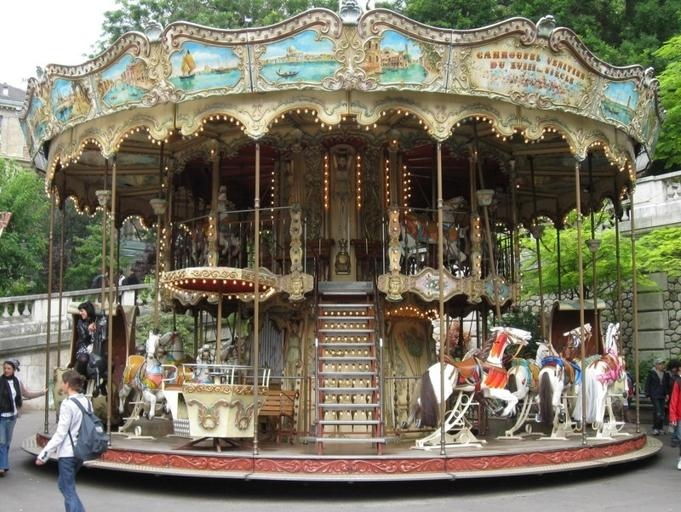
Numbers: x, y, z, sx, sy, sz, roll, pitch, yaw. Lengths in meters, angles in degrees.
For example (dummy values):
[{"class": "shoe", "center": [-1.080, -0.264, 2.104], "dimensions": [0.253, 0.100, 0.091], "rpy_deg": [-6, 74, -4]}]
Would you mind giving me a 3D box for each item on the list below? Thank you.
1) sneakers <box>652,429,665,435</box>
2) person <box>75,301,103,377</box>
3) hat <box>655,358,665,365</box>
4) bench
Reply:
[{"class": "sneakers", "center": [8.846, 4.866, 23.568], "dimensions": [0.282, 0.137, 0.127], "rpy_deg": [0, -2, 3]}, {"class": "person", "center": [-5.912, 1.974, 20.119], "dimensions": [0.848, 1.813, 0.556], "rpy_deg": [-2, -8, 6]}, {"class": "hat", "center": [8.657, 2.855, 23.105], "dimensions": [0.183, 0.115, 0.245], "rpy_deg": [3, -20, -33]}, {"class": "bench", "center": [-1.367, 3.621, 19.429], "dimensions": [0.923, 1.259, 1.688], "rpy_deg": [-1, -8, -5]}]
